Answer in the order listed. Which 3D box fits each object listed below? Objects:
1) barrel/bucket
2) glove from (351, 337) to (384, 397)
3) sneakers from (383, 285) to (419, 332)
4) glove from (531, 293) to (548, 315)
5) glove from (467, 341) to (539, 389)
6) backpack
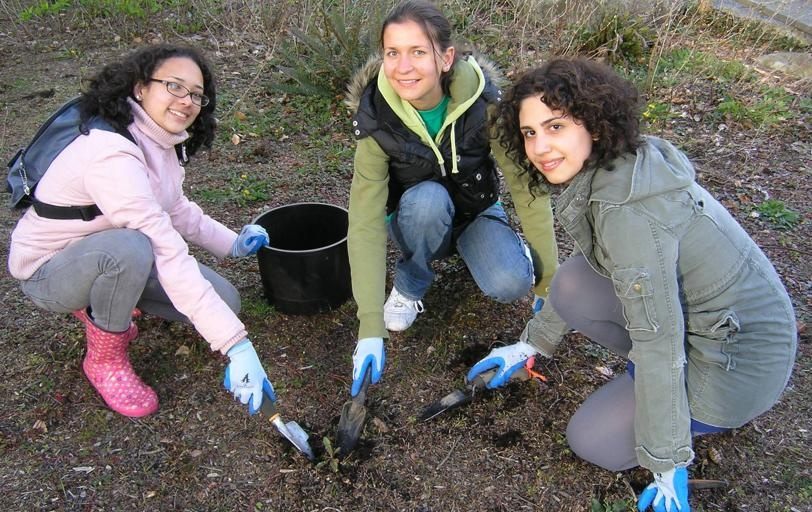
[{"bbox_3d":[-0.675,-0.016,4.066,0.628,0.494,0.666,2,35,-2],"label":"barrel/bucket"},{"bbox_3d":[-0.202,0.574,3.441,0.220,0.288,0.110,4,3,-14],"label":"glove"},{"bbox_3d":[-0.030,0.311,3.923,0.179,0.111,0.278,25,41,-13],"label":"sneakers"},{"bbox_3d":[0.797,0.283,3.885,0.072,0.122,0.041,23,14,38],"label":"glove"},{"bbox_3d":[0.541,0.587,3.605,0.377,0.101,0.219,-33,58,-6],"label":"glove"},{"bbox_3d":[-1.723,-0.487,3.378,0.468,0.622,0.656,22,21,-40],"label":"backpack"}]
